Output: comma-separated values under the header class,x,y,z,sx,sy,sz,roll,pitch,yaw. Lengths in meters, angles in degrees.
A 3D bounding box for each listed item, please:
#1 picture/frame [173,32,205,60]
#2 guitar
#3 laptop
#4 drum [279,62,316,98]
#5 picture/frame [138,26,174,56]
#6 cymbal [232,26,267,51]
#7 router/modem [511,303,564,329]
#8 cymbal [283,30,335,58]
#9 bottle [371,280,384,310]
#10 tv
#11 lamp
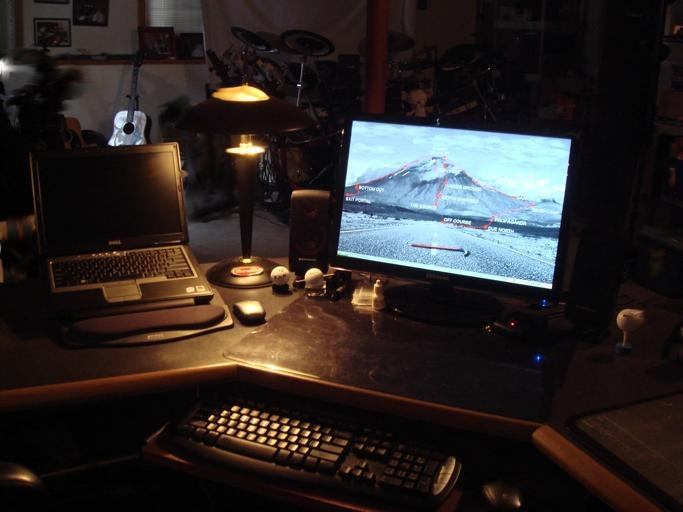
class,x,y,z,sx,sy,sz,roll,pitch,yaw
picture/frame,-1.678,-2.319,6.127,0.368,0.331,0.084,3,5,0
guitar,-2.280,-1.662,5.764,0.447,0.940,0.553,-7,20,-21
laptop,-0.665,-0.021,1.706,0.536,0.512,0.396,-6,41,-17
drum,-0.437,-1.820,5.698,0.345,0.452,0.416,8,9,14
picture/frame,-2.039,-2.345,5.965,0.391,0.361,0.136,2,-6,-7
cymbal,-0.872,-2.110,5.333,0.356,0.189,0.530,-1,19,-5
router/modem,0.538,0.165,1.495,0.144,0.033,0.078,-13,20,-36
cymbal,-0.346,-2.040,5.264,0.338,0.082,0.330,12,-10,-27
bottle,0.107,0.119,1.625,0.025,0.024,0.088,0,54,2
tv,0.311,-0.096,1.495,0.545,0.418,0.231,8,14,16
lamp,-0.324,-0.232,1.779,0.428,0.609,0.436,9,14,28
